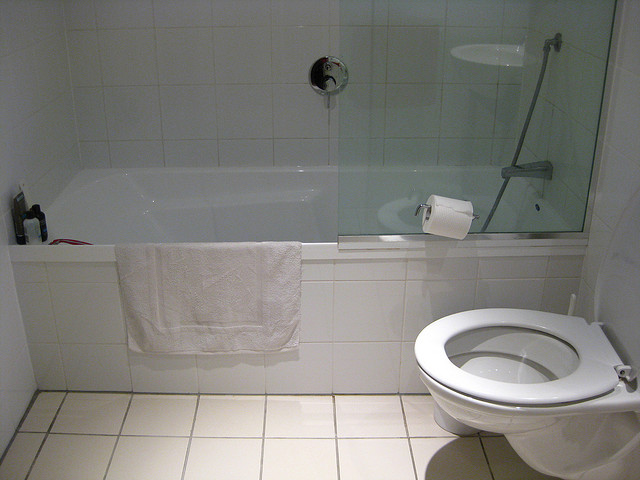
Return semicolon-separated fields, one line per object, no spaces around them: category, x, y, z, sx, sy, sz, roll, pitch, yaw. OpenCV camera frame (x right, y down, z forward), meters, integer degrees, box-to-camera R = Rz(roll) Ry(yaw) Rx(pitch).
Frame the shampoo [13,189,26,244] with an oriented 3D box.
shampoo;-1.275;-0.103;2.130;0.050;0.252;0.098;3;-12;-29

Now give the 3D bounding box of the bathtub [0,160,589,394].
bathtub;-0.159;0.084;2.375;2.404;1.300;0.871;-4;-11;3

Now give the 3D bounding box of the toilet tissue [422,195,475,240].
toilet tissue;0.503;-0.091;1.992;0.170;0.146;0.125;12;-12;-14

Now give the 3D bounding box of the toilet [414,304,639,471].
toilet;0.734;0.592;1.927;0.710;0.561;0.495;0;-55;12

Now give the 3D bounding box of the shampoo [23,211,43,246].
shampoo;-1.230;-0.047;2.136;0.062;0.045;0.188;-15;-44;-36
